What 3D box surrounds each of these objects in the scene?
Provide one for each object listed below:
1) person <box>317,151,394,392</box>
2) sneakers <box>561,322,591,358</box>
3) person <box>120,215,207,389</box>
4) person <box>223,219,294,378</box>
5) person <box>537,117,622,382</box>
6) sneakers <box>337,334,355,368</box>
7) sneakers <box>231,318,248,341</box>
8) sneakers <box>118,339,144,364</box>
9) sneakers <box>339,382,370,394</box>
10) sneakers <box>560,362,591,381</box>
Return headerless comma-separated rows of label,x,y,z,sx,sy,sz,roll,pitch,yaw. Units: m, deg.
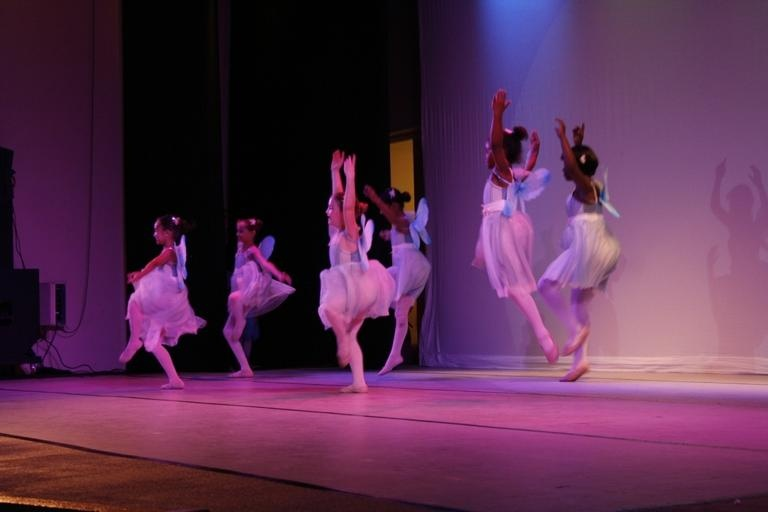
person,-0.222,0.123,4.454,0.554,1.667,0.334,3,-6,-42
sneakers,1.514,0.657,4.920,0.227,0.231,0.173,-1,-5,-1
person,-1.861,0.348,5.224,0.577,1.460,0.644,0,-5,-11
person,-1.260,0.383,6.255,0.664,1.580,0.731,0,-5,-9
person,1.569,0.008,5.060,0.617,1.981,0.432,2,-5,-26
sneakers,-0.265,0.655,4.304,0.098,0.226,0.346,0,-5,-3
sneakers,-1.438,0.714,6.078,0.188,0.224,0.068,-4,-6,34
sneakers,-2.090,0.783,5.161,0.157,0.187,0.341,1,-6,-24
sneakers,-0.203,0.936,4.388,0.197,0.086,0.081,2,-5,15
sneakers,1.533,0.927,5.010,0.216,0.148,0.186,-2,-5,11
